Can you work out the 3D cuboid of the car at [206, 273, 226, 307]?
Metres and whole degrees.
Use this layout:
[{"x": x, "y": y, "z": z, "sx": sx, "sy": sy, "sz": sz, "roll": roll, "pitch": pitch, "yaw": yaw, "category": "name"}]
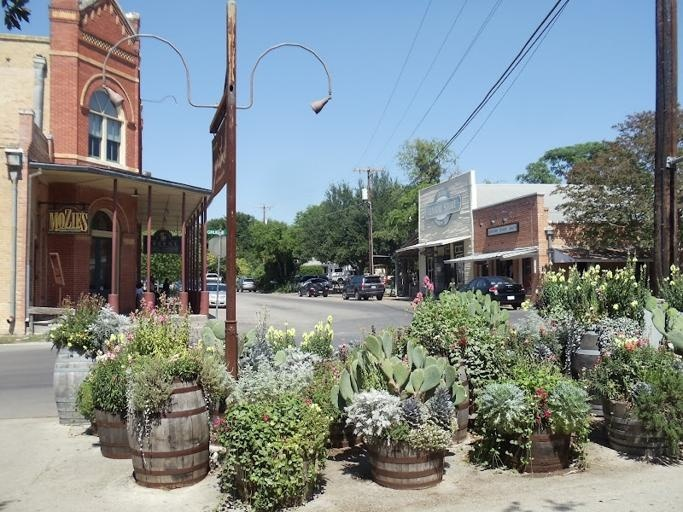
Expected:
[{"x": -6.322, "y": 1.724, "z": 32.812, "sx": 1.521, "sy": 1.581, "sz": 3.878, "roll": 0, "pitch": -4, "yaw": -14, "category": "car"}]
